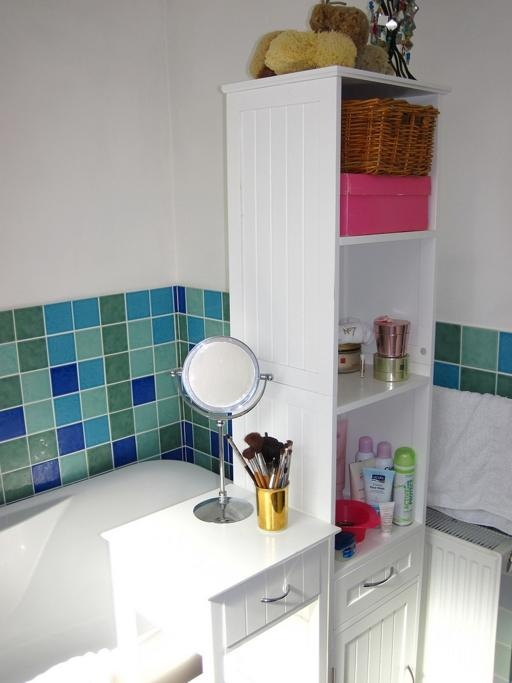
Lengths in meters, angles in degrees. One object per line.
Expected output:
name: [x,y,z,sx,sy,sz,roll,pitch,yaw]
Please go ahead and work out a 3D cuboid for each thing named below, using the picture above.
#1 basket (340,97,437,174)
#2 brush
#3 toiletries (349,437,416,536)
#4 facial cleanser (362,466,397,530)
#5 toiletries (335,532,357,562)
basket: [0.225,-0.392,1.145,0.172,0.121,0.222,-5,9,-28]
brush: [0.022,0.229,1.132,0.098,0.116,0.104,-8,8,-6]
toiletries: [0.307,0.320,1.378,0.211,0.262,0.184,-1,4,-3]
facial cleanser: [0.290,0.361,1.359,0.076,0.148,0.045,4,24,17]
toiletries: [0.186,0.429,1.202,0.050,0.041,0.055,10,18,34]
